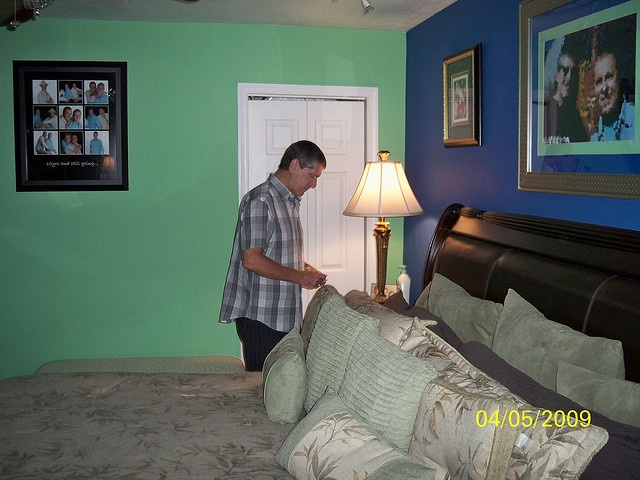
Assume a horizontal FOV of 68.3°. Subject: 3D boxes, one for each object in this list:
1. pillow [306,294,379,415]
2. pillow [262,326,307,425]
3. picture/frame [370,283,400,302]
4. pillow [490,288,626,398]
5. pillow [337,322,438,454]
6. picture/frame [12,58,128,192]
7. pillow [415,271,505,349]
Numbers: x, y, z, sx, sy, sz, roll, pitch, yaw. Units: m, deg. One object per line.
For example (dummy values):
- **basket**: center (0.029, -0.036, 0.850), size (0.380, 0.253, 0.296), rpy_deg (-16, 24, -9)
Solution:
- **pillow**: center (0.068, 0.487, 2.023), size (0.119, 0.408, 0.414), rpy_deg (11, -27, -6)
- **pillow**: center (-0.155, 0.639, 2.289), size (0.192, 0.329, 0.594), rpy_deg (8, 2, -4)
- **picture/frame**: center (0.447, 0.352, 3.183), size (0.140, 0.109, 0.016), rpy_deg (-1, -17, 11)
- **pillow**: center (0.910, 0.469, 1.807), size (0.188, 0.360, 0.589), rpy_deg (-11, 11, -18)
- **pillow**: center (0.241, 0.522, 1.745), size (0.096, 0.336, 0.322), rpy_deg (26, 10, -36)
- **picture/frame**: center (-1.990, -0.934, 3.668), size (0.923, 1.188, 0.047), rpy_deg (-1, 5, -3)
- **pillow**: center (0.648, 0.346, 2.314), size (0.653, 0.236, 0.226), rpy_deg (14, 21, -37)
